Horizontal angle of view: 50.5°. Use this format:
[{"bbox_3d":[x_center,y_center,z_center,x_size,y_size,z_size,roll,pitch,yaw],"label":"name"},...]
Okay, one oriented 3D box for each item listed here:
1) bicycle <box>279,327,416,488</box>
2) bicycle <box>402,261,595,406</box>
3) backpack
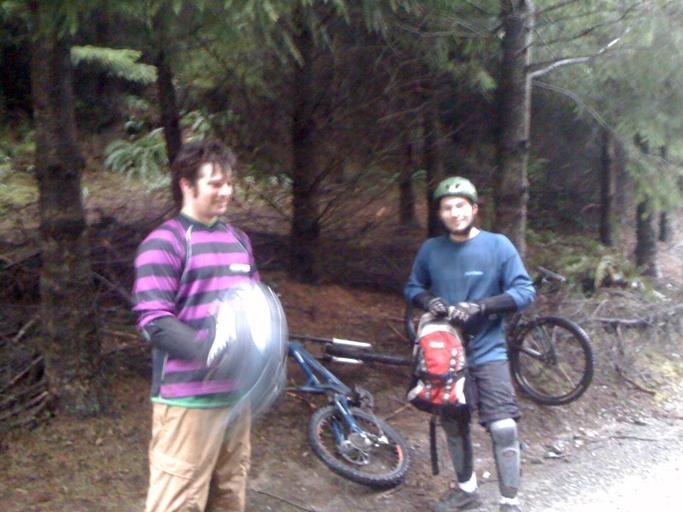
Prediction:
[{"bbox_3d":[0.282,1.556,7.179,0.892,0.699,1.994,36,25,17],"label":"bicycle"},{"bbox_3d":[1.850,0.900,8.554,2.204,1.591,1.160,-6,8,28],"label":"bicycle"},{"bbox_3d":[0.854,0.953,6.265,0.533,0.863,0.354,2,10,11],"label":"backpack"}]
